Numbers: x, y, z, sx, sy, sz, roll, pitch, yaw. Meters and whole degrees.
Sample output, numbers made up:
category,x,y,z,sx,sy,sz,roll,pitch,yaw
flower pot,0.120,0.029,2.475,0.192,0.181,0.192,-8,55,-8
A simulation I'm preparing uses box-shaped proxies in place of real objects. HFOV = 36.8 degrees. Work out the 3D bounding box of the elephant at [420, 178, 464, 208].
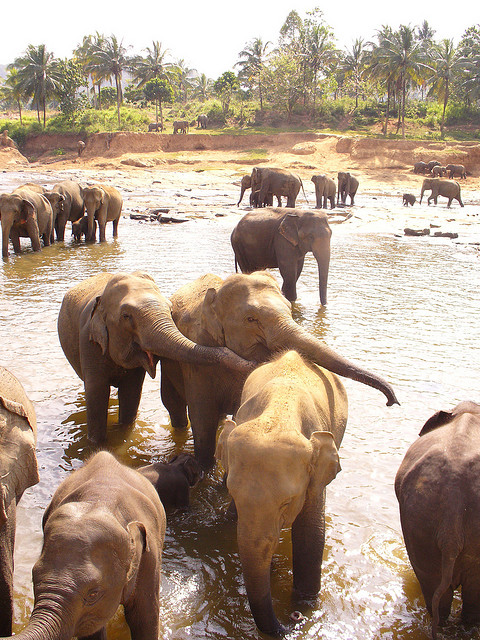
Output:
category,x,y,z,sx,sy,sz,roll,pitch,yaw
elephant,6.502,-4.195,23.387,1.232,0.867,1.861,3,14,4

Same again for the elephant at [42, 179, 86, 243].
category,x,y,z,sx,sy,sz,roll,pitch,yaw
elephant,-3.380,-2.068,13.566,0.531,1.124,1.783,7,20,9

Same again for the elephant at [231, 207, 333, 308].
category,x,y,z,sx,sy,sz,roll,pitch,yaw
elephant,0.479,-0.817,8.924,1.368,1.176,0.588,6,14,32

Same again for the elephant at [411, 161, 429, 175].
category,x,y,z,sx,sy,sz,roll,pitch,yaw
elephant,8.185,-6.961,32.668,0.630,0.525,0.823,3,14,6

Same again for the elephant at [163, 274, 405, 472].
category,x,y,z,sx,sy,sz,roll,pitch,yaw
elephant,0.014,0.292,3.617,0.512,0.998,1.628,-11,7,-36

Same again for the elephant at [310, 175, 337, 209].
category,x,y,z,sx,sy,sz,roll,pitch,yaw
elephant,2.485,-3.838,21.231,0.686,0.937,1.256,4,14,10

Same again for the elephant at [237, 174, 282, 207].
category,x,y,z,sx,sy,sz,roll,pitch,yaw
elephant,0.515,-3.719,20.643,1.526,1.109,0.786,7,15,12

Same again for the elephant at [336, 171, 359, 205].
category,x,y,z,sx,sy,sz,roll,pitch,yaw
elephant,3.263,-4.074,22.088,0.587,0.948,0.601,3,14,7

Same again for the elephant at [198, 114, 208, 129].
category,x,y,z,sx,sy,sz,roll,pitch,yaw
elephant,-2.503,-13.508,48.433,0.637,0.848,1.790,1,14,-2

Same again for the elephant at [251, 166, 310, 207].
category,x,y,z,sx,sy,sz,roll,pitch,yaw
elephant,0.951,-3.673,19.863,1.778,1.112,0.688,3,8,5

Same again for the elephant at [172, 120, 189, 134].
category,x,y,z,sx,sy,sz,roll,pitch,yaw
elephant,-3.268,-11.870,43.958,1.562,0.885,0.674,-5,15,-12

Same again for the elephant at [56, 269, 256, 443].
category,x,y,z,sx,sy,sz,roll,pitch,yaw
elephant,-0.663,0.234,4.281,0.512,1.041,1.775,-6,3,-30

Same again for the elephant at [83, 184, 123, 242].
category,x,y,z,sx,sy,sz,roll,pitch,yaw
elephant,-2.649,-2.116,13.841,0.523,1.080,1.282,9,15,15
